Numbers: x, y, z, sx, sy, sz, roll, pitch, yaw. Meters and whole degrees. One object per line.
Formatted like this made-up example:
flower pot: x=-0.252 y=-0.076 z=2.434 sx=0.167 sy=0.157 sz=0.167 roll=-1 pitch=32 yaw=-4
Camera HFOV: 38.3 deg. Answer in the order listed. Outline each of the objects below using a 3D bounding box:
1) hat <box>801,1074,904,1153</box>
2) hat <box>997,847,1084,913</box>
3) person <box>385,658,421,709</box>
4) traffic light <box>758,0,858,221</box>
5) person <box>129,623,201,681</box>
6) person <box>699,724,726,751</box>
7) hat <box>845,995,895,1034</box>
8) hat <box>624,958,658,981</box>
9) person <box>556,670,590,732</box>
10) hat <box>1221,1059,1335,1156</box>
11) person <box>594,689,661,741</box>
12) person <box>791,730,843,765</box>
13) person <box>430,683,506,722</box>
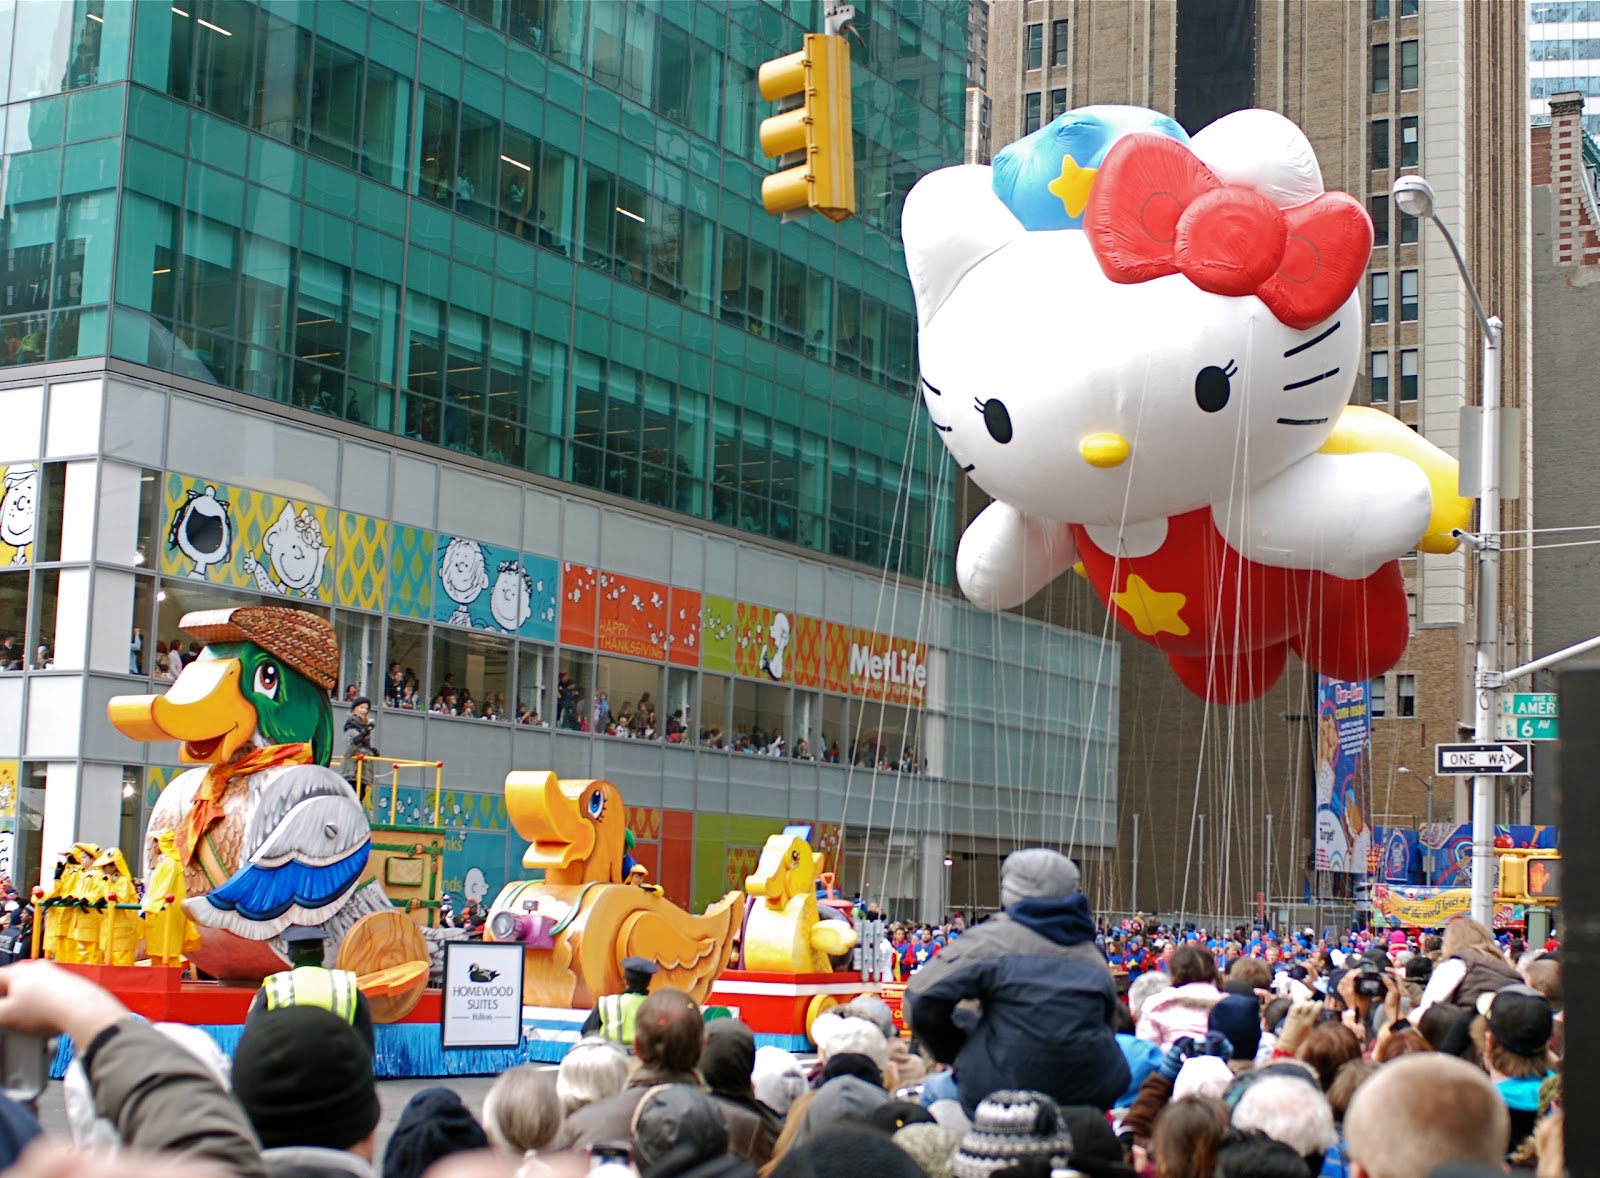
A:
hat: x=0.326 y=3.718 z=16.406 sx=0.424 sy=0.413 sz=0.703 roll=1 pitch=-5 yaw=5
hat: x=1.889 y=2.322 z=18.295 sx=0.540 sy=0.473 sz=0.434 roll=-3 pitch=-11 yaw=17
person: x=-7.430 y=1.840 z=42.977 sx=0.176 sy=0.839 sz=1.069 roll=-6 pitch=-12 yaw=22
traffic light: x=0.048 y=-4.642 z=23.033 sx=0.899 sy=1.893 sz=0.681 roll=0 pitch=-11 yaw=-4
person: x=-10.855 y=1.137 z=39.126 sx=0.512 sy=0.891 sz=1.220 roll=12 pitch=14 yaw=33
person: x=-1.931 y=3.307 z=50.656 sx=0.171 sy=0.497 sz=0.884 roll=-7 pitch=-13 yaw=27
hat: x=0.565 y=3.501 z=18.976 sx=0.266 sy=0.363 sz=0.364 roll=-6 pitch=-28 yaw=29
hat: x=-1.627 y=3.807 z=23.086 sx=0.340 sy=0.154 sz=0.441 roll=5 pitch=-14 yaw=-4
person: x=-4.648 y=2.270 z=46.971 sx=0.291 sy=1.243 sz=1.159 roll=-7 pitch=-13 yaw=29
hat: x=3.484 y=3.784 z=16.719 sx=0.499 sy=0.632 sz=0.697 roll=-14 pitch=-31 yaw=16
person: x=-3.685 y=2.740 z=48.382 sx=0.810 sy=1.114 sz=1.577 roll=-6 pitch=-11 yaw=33
person: x=0.378 y=3.774 z=53.998 sx=0.203 sy=0.662 sz=2.059 roll=-8 pitch=-13 yaw=31
person: x=-6.443 y=2.249 z=44.421 sx=0.226 sy=0.576 sz=1.879 roll=-8 pitch=-13 yaw=32
